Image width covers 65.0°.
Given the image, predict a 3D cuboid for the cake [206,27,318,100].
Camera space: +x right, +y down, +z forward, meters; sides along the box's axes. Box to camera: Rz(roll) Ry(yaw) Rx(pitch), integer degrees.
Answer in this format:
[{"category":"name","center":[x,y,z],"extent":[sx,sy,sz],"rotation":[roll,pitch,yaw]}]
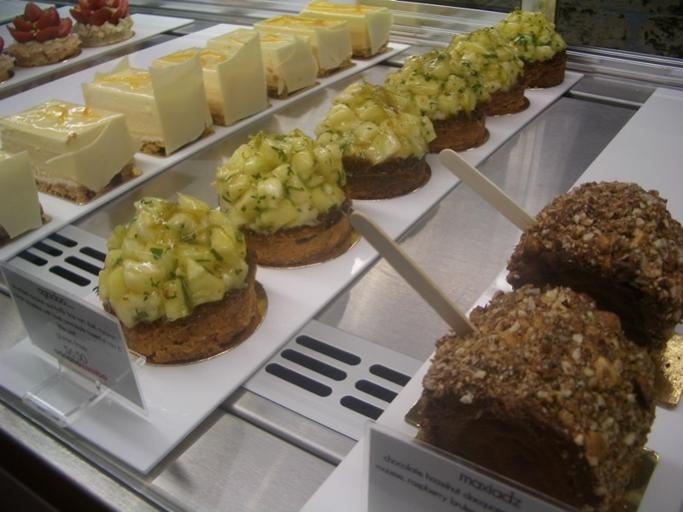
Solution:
[{"category":"cake","center":[-0.352,-0.813,2.448],"extent":[0.480,0.276,0.329],"rotation":[25,43,29]}]

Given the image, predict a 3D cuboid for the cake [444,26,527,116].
[{"category":"cake","center":[0.539,-0.744,2.225],"extent":[0.294,0.157,0.381],"rotation":[-29,61,-21]}]

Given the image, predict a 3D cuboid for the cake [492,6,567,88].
[{"category":"cake","center":[0.821,-0.892,2.380],"extent":[0.311,0.279,0.313],"rotation":[-3,33,-1]}]

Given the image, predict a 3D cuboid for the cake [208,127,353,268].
[{"category":"cake","center":[-0.148,-0.161,1.482],"extent":[0.372,0.271,0.391],"rotation":[-3,41,-2]}]

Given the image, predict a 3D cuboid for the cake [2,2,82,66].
[{"category":"cake","center":[-1.513,-1.093,2.793],"extent":[0.337,0.251,0.339],"rotation":[-2,34,-3]}]

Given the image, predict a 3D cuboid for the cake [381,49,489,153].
[{"category":"cake","center":[0.348,-0.601,2.070],"extent":[0.471,0.303,0.360],"rotation":[-28,42,-27]}]

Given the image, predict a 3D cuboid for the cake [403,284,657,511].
[{"category":"cake","center":[0.322,0.325,0.976],"extent":[0.407,0.275,0.332],"rotation":[25,63,24]}]

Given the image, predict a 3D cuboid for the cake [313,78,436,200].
[{"category":"cake","center":[0.141,-0.434,1.867],"extent":[0.427,0.296,0.386],"rotation":[-35,44,-18]}]

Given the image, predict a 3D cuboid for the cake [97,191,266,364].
[{"category":"cake","center":[-0.400,0.065,1.295],"extent":[0.322,0.235,0.358],"rotation":[-3,30,-5]}]

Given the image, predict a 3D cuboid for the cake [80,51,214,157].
[{"category":"cake","center":[-0.803,-0.643,2.157],"extent":[0.422,0.304,0.330],"rotation":[19,35,24]}]
